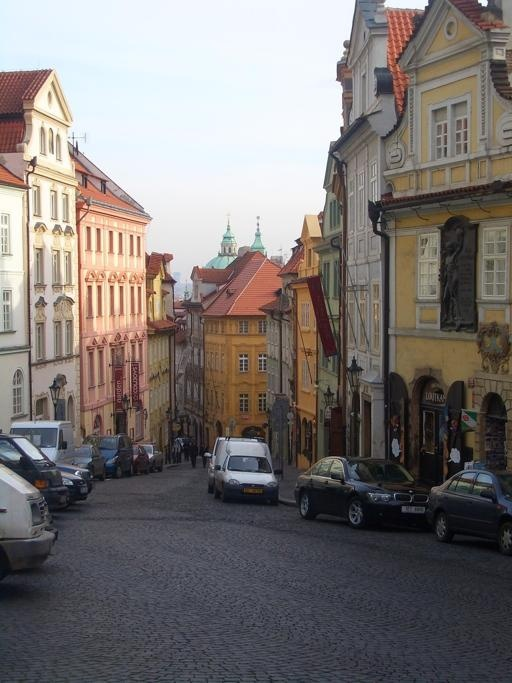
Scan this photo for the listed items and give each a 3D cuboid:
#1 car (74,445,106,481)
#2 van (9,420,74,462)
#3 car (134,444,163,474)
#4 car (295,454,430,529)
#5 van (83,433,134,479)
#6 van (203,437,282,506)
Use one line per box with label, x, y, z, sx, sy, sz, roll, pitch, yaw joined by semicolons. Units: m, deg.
car;-5.228;3.826;32.453;0.807;0.856;1.614;-1;-13;3
van;-5.415;2.446;26.578;1.173;1.397;2.276;1;-8;0
car;-5.034;5.502;47.486;0.961;0.986;2.412;-1;-13;1
car;1.964;2.874;19.630;0.943;0.967;2.595;3;-10;-18
van;-5.483;4.411;38.838;0.993;1.137;1.971;-3;-9;5
van;-0.298;3.515;27.348;1.533;1.622;2.730;2;-4;-8
